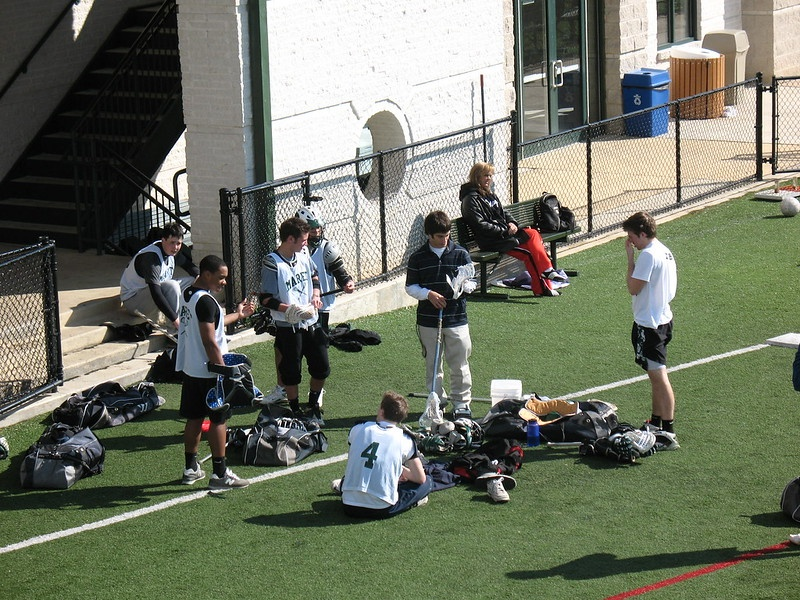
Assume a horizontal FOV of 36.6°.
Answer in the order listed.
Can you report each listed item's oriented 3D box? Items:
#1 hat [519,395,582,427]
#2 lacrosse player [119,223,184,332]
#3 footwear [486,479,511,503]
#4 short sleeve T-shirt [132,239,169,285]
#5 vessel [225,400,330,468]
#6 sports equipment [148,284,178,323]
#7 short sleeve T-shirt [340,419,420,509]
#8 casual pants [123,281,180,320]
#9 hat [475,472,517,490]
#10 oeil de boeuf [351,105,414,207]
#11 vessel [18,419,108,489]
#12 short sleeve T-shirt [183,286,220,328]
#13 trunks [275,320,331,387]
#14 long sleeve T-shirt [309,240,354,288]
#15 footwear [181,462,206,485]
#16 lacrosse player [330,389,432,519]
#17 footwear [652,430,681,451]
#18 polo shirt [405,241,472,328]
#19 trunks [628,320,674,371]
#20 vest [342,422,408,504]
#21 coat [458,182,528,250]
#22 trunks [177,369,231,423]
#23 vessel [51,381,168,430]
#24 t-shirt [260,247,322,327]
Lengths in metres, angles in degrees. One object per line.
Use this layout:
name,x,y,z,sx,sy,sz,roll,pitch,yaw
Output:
hat,1.570,1.172,13.069,0.367,0.128,0.347,7,8,-16
lacrosse player,-3.092,-0.231,15.186,0.797,1.071,0.792,16,43,5
footwear,0.970,1.881,11.942,0.197,0.194,0.222,-8,3,1
short sleeve T-shirt,-3.009,-0.464,14.820,0.481,0.496,0.373,-8,3,-6
vessel,-1.369,1.423,12.909,0.682,0.283,0.603,7,9,31
sports equipment,-2.842,0.034,14.749,0.349,0.485,0.210,-10,3,-29
short sleeve T-shirt,-0.177,1.602,11.593,0.681,0.689,0.438,8,21,6
casual pants,-3.081,0.033,15.067,0.635,0.454,0.644,-3,1,-14
hat,0.939,1.785,12.062,0.420,0.163,0.168,8,-8,-1
oeil de boeuf,-0.255,-2.167,17.943,0.797,1.152,2.404,-8,3,1
vessel,-3.524,1.635,12.659,0.828,0.661,0.623,-8,3,-5
short sleeve T-shirt,-1.963,0.075,11.959,0.164,0.300,0.303,-21,29,-31
trunks,-1.086,0.579,13.479,0.556,0.819,0.309,-23,24,-39
long sleeve T-shirt,-0.835,-0.430,14.412,0.450,0.665,0.191,-20,5,42
footwear,-2.109,1.792,12.454,0.118,0.135,0.306,3,8,20
lacrosse player,-0.047,1.460,11.932,0.956,1.150,1.079,8,9,-8
footwear,2.766,1.468,12.598,0.285,0.127,0.145,10,20,6
polo shirt,0.454,-0.306,13.240,0.795,0.731,0.469,-3,2,4
trunks,2.579,0.460,12.581,0.410,0.600,0.615,3,8,23
vest,-0.215,1.568,11.524,0.625,0.641,0.397,6,19,5
coat,1.246,-1.113,16.929,0.851,1.055,0.931,-11,18,19
trunks,-1.932,0.945,12.072,0.500,0.490,0.295,10,23,6
vessel,-3.258,1.201,13.804,0.596,0.276,0.816,6,11,31
t-shirt,-1.192,-0.121,13.263,0.434,0.832,0.729,6,14,34
